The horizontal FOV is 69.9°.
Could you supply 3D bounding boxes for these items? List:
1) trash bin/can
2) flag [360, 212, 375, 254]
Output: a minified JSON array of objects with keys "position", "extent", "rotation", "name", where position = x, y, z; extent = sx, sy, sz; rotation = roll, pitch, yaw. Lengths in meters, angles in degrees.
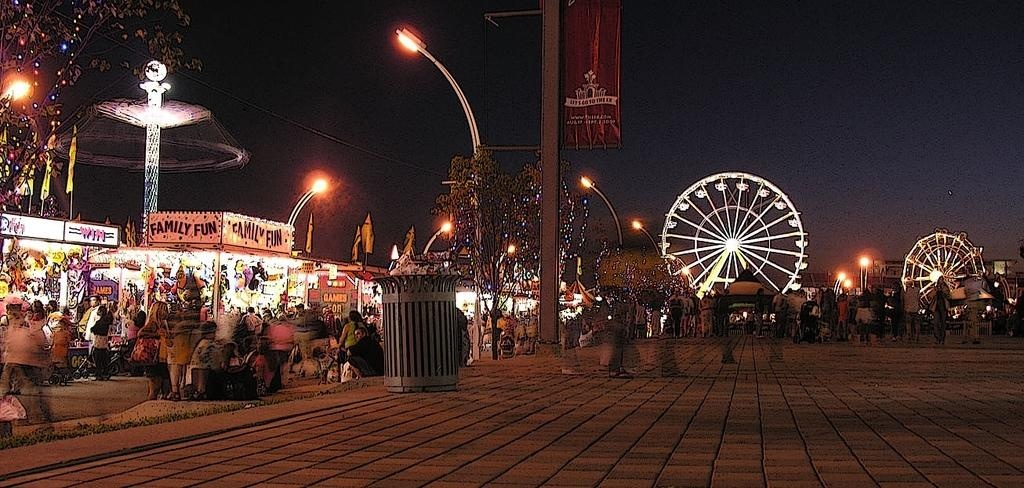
[{"position":[-2.706,2.434,19.294],"extent":[2.207,2.842,2.360],"rotation":[-12,-13,44],"name":"trash bin/can"},{"position":[-10.515,-0.599,52.055],"extent":[0.513,2.485,1.180],"rotation":[0,0,-28],"name":"flag"}]
